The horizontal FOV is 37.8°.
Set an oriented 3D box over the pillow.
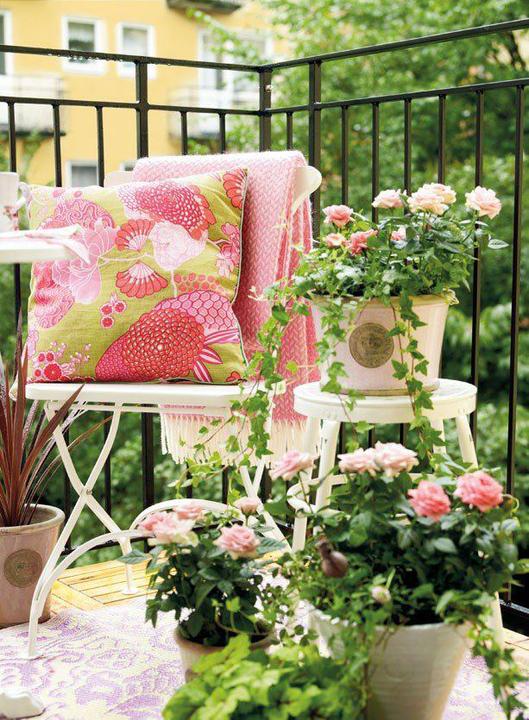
[{"bbox_3d":[-0.229,-0.145,1.457,0.506,0.393,0.166,-1,-13,4],"label":"pillow"}]
